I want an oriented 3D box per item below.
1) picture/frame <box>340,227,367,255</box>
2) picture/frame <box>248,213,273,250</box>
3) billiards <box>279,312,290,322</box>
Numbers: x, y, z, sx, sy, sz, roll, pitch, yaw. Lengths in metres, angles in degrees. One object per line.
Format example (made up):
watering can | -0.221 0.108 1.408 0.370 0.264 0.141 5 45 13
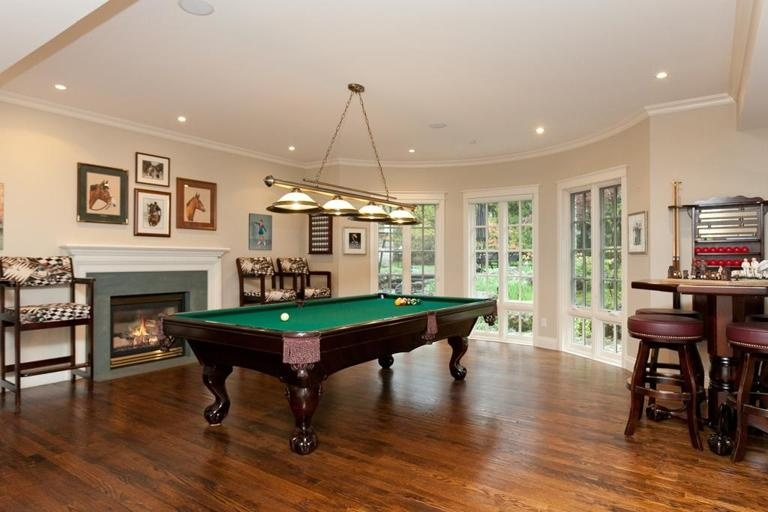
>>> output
picture/frame | -0.543 -0.232 8.611 0.576 0.482 0.058 1 -7 -26
picture/frame | -2.063 -0.398 8.300 0.064 0.706 0.706 -3 -3 37
billiards | -0.947 0.576 4.810 0.095 0.083 0.090 19 -39 -15
